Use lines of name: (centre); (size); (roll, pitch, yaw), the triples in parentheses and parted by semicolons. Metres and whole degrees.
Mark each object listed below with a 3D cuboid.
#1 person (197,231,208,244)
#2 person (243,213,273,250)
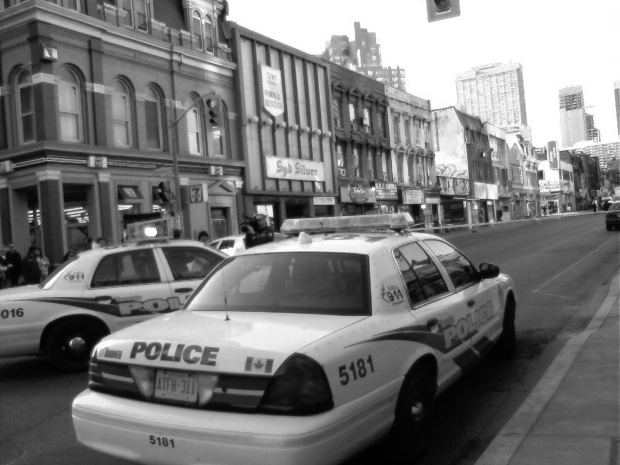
person: (-4.400, 0.189, 22.043); (0.489, 0.440, 0.739); (5, -2, -4)
person: (-1.432, -0.011, 14.289); (0.790, 1.249, 0.455); (2, 6, 27)
